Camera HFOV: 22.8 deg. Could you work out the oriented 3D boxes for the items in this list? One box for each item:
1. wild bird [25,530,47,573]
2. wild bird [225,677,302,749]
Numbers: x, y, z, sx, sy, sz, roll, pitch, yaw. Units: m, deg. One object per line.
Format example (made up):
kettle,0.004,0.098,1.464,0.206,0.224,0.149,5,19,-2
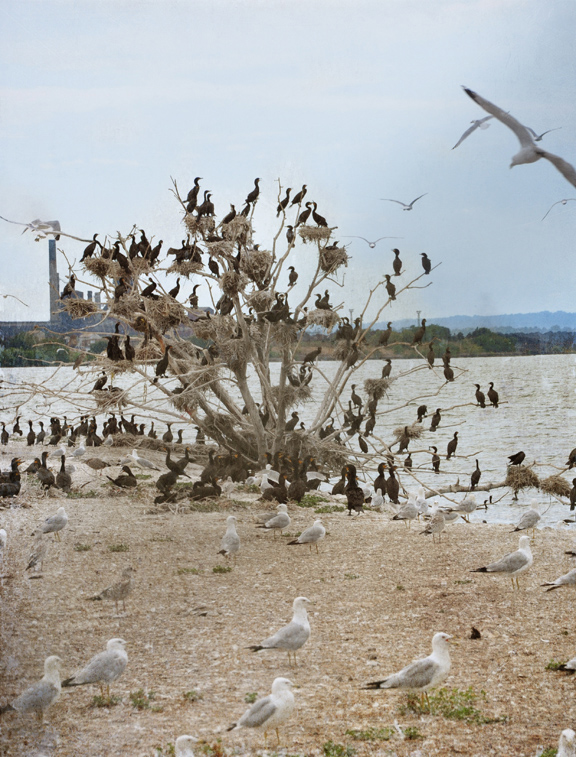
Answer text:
wild bird,-3.619,2.531,20.511,0.266,0.577,0.524,8,16,13
wild bird,-0.248,3.507,14.981,0.629,0.582,0.700,-3,1,1
